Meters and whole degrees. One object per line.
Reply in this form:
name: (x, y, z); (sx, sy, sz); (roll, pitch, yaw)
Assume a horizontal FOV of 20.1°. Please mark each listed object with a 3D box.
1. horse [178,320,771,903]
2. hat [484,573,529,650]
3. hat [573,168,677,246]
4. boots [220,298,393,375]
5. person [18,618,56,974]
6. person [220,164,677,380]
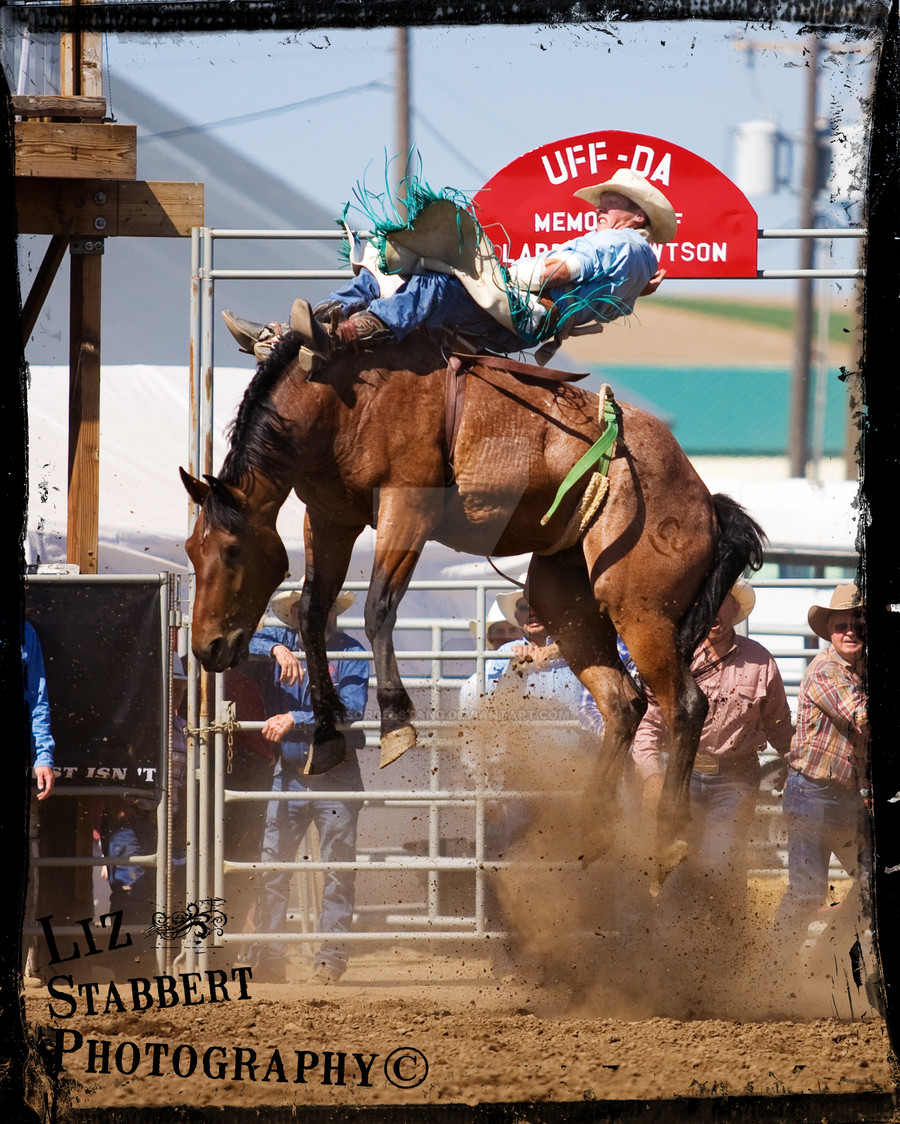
horse: (0.112, 0.084, 9.310); (2.218, 1.866, 0.690); (4, -5, -16)
hat: (0.301, 0.226, 11.315); (0.090, 0.331, 0.276); (5, 7, -35)
hat: (0.679, -1.277, 9.374); (0.265, 0.118, 0.297); (26, -11, 40)
boots: (-0.523, -0.800, 9.117); (0.407, 0.251, 0.707); (-3, 3, -31)
person: (-1.635, 0.931, 10.081); (0.141, 1.412, 0.548); (-1, 3, -9)
person: (0.150, -1.073, 9.297); (1.494, 0.739, 0.687); (3, 0, -3)
